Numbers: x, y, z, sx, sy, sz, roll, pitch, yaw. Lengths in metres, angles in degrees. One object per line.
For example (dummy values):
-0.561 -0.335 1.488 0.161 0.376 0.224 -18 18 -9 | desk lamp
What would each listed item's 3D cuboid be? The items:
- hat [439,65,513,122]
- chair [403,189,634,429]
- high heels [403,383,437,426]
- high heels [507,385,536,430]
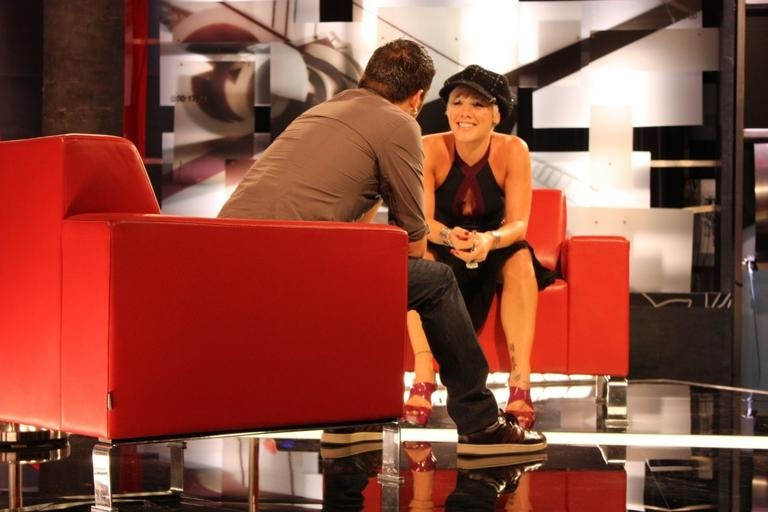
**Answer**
0.475 -0.778 4.417 0.214 0.112 0.295 15 -12 30 | hat
0.694 0.279 4.863 1.192 1.309 0.928 0 -7 5 | chair
0.149 0.661 4.115 0.090 0.099 0.237 0 -1 7 | high heels
0.609 0.683 4.217 0.147 0.205 0.111 9 -30 -17 | high heels
